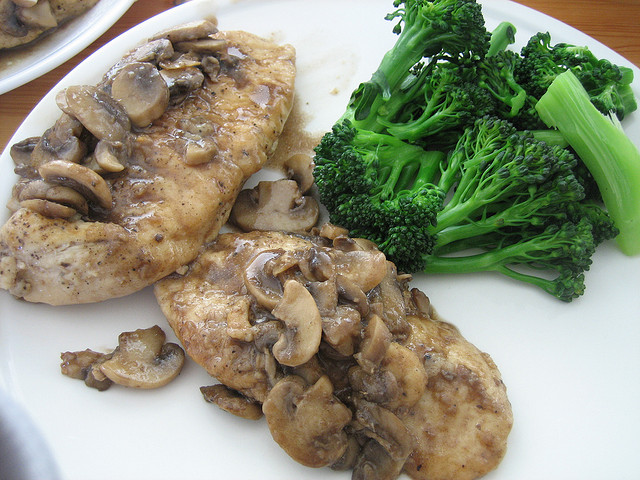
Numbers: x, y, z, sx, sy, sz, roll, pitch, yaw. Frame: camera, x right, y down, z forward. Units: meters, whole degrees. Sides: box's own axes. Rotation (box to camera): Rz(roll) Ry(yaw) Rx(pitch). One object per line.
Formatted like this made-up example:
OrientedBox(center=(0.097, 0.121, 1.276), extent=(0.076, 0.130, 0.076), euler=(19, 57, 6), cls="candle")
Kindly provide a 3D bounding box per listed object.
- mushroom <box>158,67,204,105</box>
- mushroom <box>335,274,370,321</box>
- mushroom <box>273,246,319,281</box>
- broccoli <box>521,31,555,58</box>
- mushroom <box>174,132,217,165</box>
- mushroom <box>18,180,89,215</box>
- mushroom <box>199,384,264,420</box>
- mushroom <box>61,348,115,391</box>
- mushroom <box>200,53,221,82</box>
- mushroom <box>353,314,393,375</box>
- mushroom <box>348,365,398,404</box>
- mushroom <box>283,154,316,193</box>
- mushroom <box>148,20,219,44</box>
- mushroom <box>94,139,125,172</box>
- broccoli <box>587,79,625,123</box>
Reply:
OrientedBox(center=(-1.113, -1.293, 5.808), extent=(0.289, 0.116, 0.316), euler=(1, 48, 0), cls="mushroom")
OrientedBox(center=(0.222, 0.407, 5.147), extent=(0.071, 0.232, 0.308), euler=(-26, 75, -46), cls="mushroom")
OrientedBox(center=(-0.201, 0.146, 5.239), extent=(0.241, 0.074, 0.244), euler=(-40, 55, -6), cls="mushroom")
OrientedBox(center=(1.883, -1.715, 6.234), extent=(0.224, 0.156, 0.238), euler=(-25, 52, 24), cls="broccoli")
OrientedBox(center=(-0.997, -0.737, 5.640), extent=(0.222, 0.098, 0.286), euler=(-38, 69, -21), cls="mushroom")
OrientedBox(center=(-1.966, -0.339, 5.277), extent=(0.293, 0.304, 0.105), euler=(14, 69, 19), cls="mushroom")
OrientedBox(center=(-0.653, 1.181, 5.256), extent=(0.390, 0.106, 0.230), euler=(27, 27, 6), cls="mushroom")
OrientedBox(center=(-1.762, 1.007, 5.426), extent=(0.305, 0.101, 0.302), euler=(2, 55, 6), cls="mushroom")
OrientedBox(center=(-0.917, -1.457, 5.962), extent=(0.123, 0.056, 0.239), euler=(-14, 79, -13), cls="mushroom")
OrientedBox(center=(0.362, 0.750, 4.993), extent=(0.098, 0.277, 0.376), euler=(18, 52, -23), cls="mushroom")
OrientedBox(center=(0.351, 1.007, 4.972), extent=(0.292, 0.107, 0.243), euler=(24, 89, 11), cls="mushroom")
OrientedBox(center=(-0.169, -0.586, 6.126), extent=(0.241, 0.074, 0.323), euler=(-37, 80, 22), cls="mushroom")
OrientedBox(center=(-1.134, -1.746, 5.986), extent=(0.350, 0.266, 0.101), euler=(-17, 97, -14), cls="mushroom")
OrientedBox(center=(-1.626, -0.650, 5.486), extent=(0.204, 0.134, 0.222), euler=(-5, 56, -7), cls="mushroom")
OrientedBox(center=(2.399, -1.196, 6.046), extent=(0.324, 0.160, 0.349), euler=(36, 54, -26), cls="broccoli")
